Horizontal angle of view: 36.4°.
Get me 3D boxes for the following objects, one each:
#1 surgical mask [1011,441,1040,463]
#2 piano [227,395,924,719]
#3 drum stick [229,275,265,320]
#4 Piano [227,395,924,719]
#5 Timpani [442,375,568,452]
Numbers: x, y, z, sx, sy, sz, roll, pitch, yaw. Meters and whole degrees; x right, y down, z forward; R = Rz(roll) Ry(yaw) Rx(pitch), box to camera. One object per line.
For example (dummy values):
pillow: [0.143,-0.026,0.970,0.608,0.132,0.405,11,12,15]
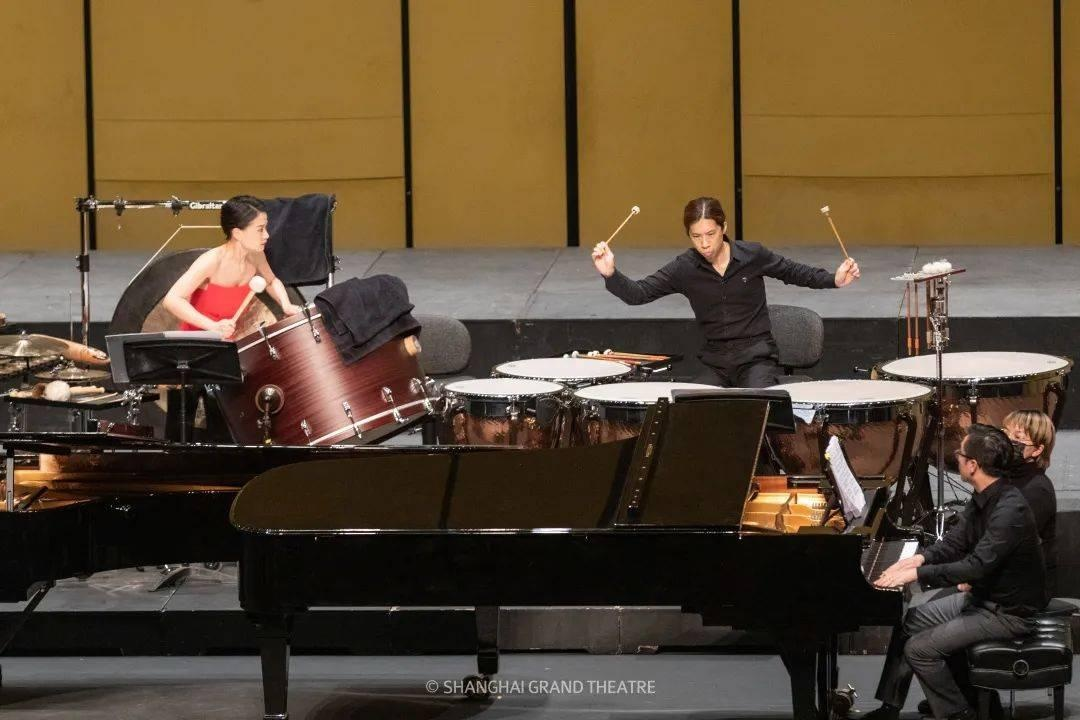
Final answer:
surgical mask: [2.342,0.452,7.978,0.157,0.084,0.147,7,-7,18]
piano: [0.198,0.861,7.694,2.868,1.239,1.383,-1,1,2]
drum stick: [-1.625,-0.342,9.111,0.080,0.287,0.073,44,13,5]
Piano: [0.149,0.868,7.725,2.868,1.239,1.383,-1,1,2]
Timpani: [-0.218,0.292,8.935,0.505,0.306,0.423,3,4,-16]
